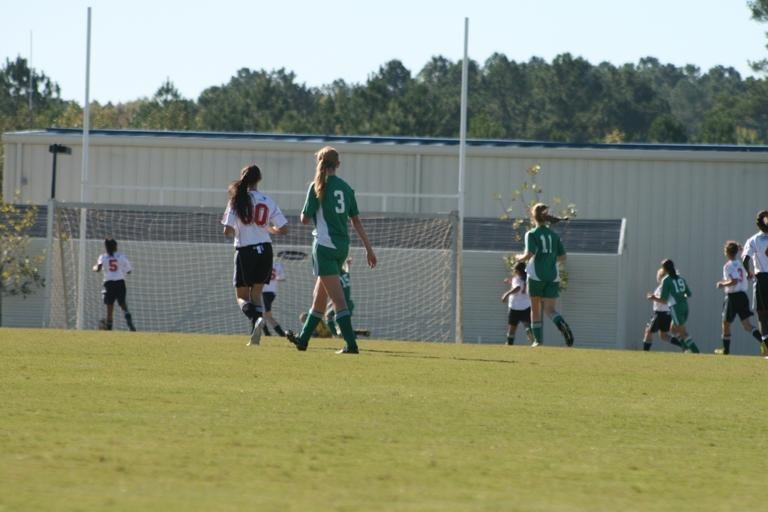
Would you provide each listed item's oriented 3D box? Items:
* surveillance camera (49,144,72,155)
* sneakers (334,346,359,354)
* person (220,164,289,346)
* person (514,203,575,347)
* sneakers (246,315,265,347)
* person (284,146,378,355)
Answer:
[{"bbox_3d":[-7.740,-2.519,28.657,0.455,0.197,0.339,1,-3,11],"label":"surveillance camera"},{"bbox_3d":[-0.584,1.404,18.158,0.353,0.144,0.121,3,-6,6],"label":"sneakers"},{"bbox_3d":[-2.039,-0.181,18.820,0.887,2.381,0.376,0,0,-7],"label":"person"},{"bbox_3d":[2.710,0.320,20.865,0.851,2.427,1.080,0,0,-3],"label":"person"},{"bbox_3d":[-1.953,1.207,18.710,0.187,0.556,0.217,8,13,-31],"label":"sneakers"},{"bbox_3d":[-0.814,-0.079,18.174,1.121,3.039,0.631,0,0,-4],"label":"person"}]
